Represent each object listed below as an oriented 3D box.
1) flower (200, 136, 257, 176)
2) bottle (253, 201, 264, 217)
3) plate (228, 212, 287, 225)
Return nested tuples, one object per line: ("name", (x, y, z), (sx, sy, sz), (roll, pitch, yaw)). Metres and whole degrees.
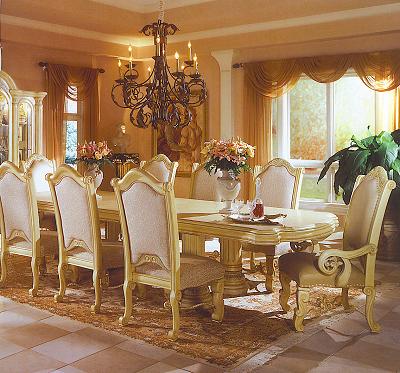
("flower", (0.166, -0.219, 3.307), (0.429, 0.271, 0.415), (-1, 1, -32))
("bottle", (0.393, 0.155, 2.809), (0.065, 0.108, 0.084), (11, -15, -33))
("plate", (0.347, 0.216, 2.780), (0.414, 0.045, 0.313), (1, 3, 16))
